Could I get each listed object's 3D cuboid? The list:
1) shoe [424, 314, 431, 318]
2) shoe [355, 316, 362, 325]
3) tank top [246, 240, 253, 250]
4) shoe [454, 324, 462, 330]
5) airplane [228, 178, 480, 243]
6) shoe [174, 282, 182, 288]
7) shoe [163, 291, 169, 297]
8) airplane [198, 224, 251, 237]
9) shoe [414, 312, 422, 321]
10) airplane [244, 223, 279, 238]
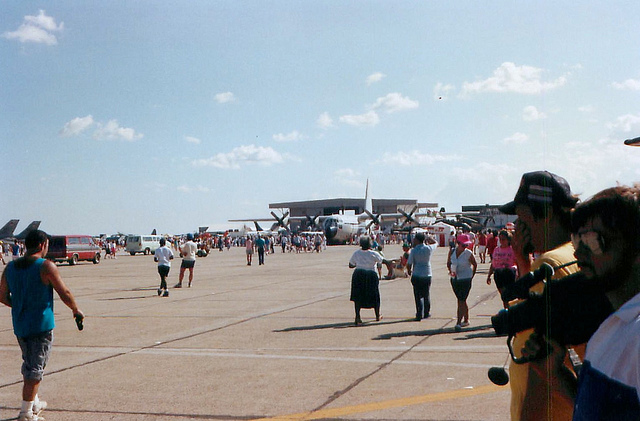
[{"bbox_3d":[2.229,2.178,13.170,0.151,0.084,0.035,0,-5,-14],"label":"shoe"},{"bbox_3d":[0.771,2.194,12.695,0.127,0.137,0.084,-7,-8,18],"label":"shoe"},{"bbox_3d":[-3.609,1.696,32.019,0.219,0.473,0.751,-2,-3,4],"label":"tank top"},{"bbox_3d":[2.550,2.135,11.706,0.081,0.117,0.115,6,-14,-22],"label":"shoe"},{"bbox_3d":[3.636,1.244,68.918,25.992,7.079,7.405,-1,-2,7],"label":"airplane"},{"bbox_3d":[-4.608,2.368,20.452,0.208,0.180,0.311,-2,-3,-9],"label":"shoe"},{"bbox_3d":[-4.410,2.364,18.094,0.096,0.169,0.161,2,-10,-18],"label":"shoe"},{"bbox_3d":[-12.966,2.790,87.793,4.059,1.166,4.282,-2,0,1],"label":"airplane"},{"bbox_3d":[2.007,2.139,12.920,0.161,0.172,0.177,-2,-3,7],"label":"shoe"},{"bbox_3d":[-6.426,2.302,71.059,3.993,1.501,4.004,-6,4,-42],"label":"airplane"}]
